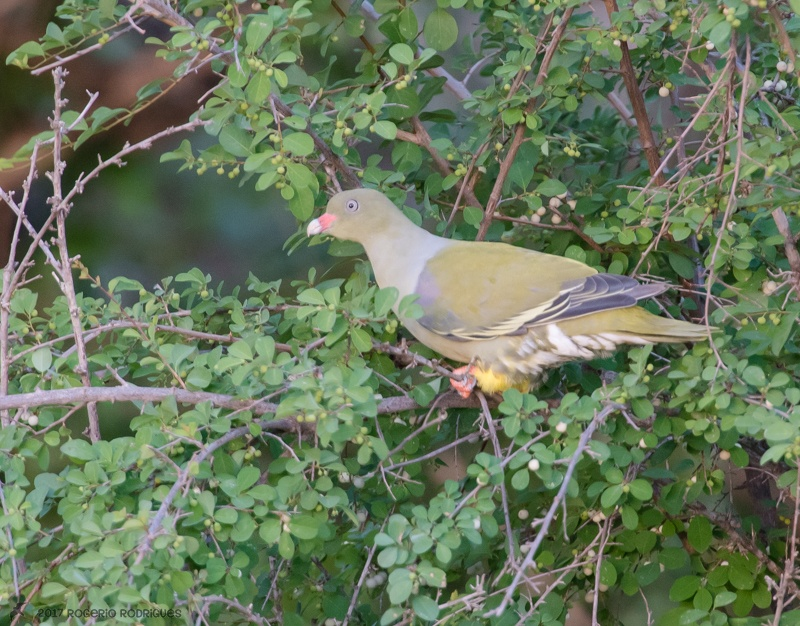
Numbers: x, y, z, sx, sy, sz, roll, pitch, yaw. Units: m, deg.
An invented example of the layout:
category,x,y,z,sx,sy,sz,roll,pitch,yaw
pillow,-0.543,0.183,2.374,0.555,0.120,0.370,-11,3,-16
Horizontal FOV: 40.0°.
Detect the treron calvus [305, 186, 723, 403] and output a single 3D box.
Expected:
category,x,y,z,sx,sy,sz,roll,pitch,yaw
treron calvus,0.341,-0.093,3.962,1.832,1.011,0.590,0,10,17
